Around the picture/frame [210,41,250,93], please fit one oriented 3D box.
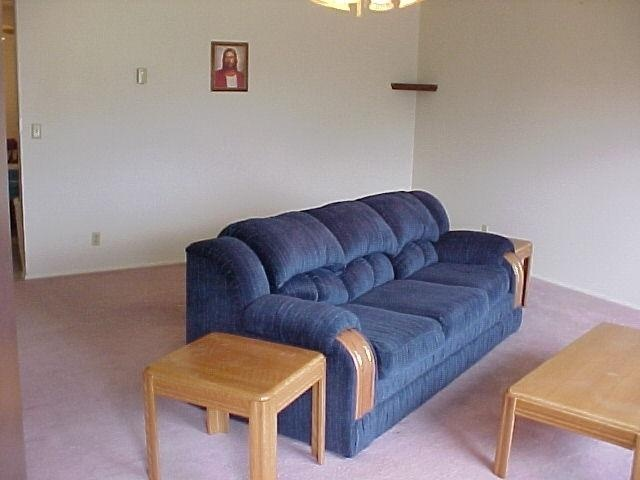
[{"bbox_3d":[-0.907,-1.734,4.969,0.454,0.577,0.041,-3,9,-28],"label":"picture/frame"}]
